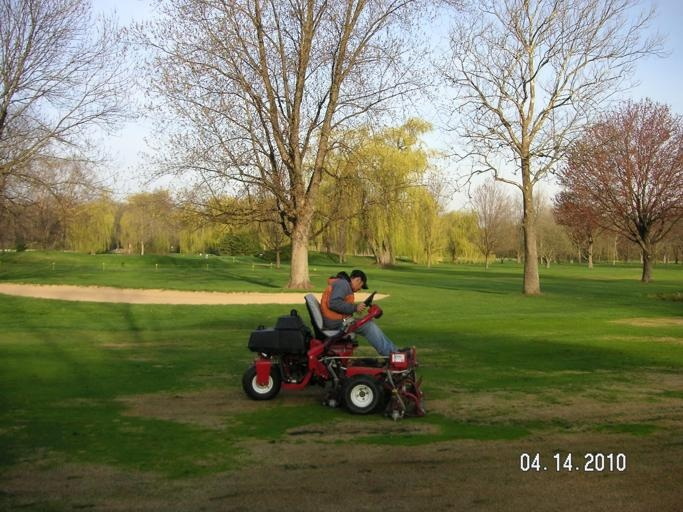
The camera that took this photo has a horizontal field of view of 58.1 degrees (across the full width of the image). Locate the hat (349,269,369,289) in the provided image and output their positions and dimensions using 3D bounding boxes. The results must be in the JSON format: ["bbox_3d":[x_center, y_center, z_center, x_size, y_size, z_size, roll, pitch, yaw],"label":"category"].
[{"bbox_3d":[0.359,0.460,11.524,0.373,0.214,0.270,31,-3,-36],"label":"hat"}]

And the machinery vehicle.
[{"bbox_3d":[-0.095,1.824,11.557,3.127,2.003,2.232,2,1,-2],"label":"machinery vehicle"}]

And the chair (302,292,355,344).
[{"bbox_3d":[-0.260,1.141,11.575,0.782,0.977,0.679,-1,1,-1],"label":"chair"}]
